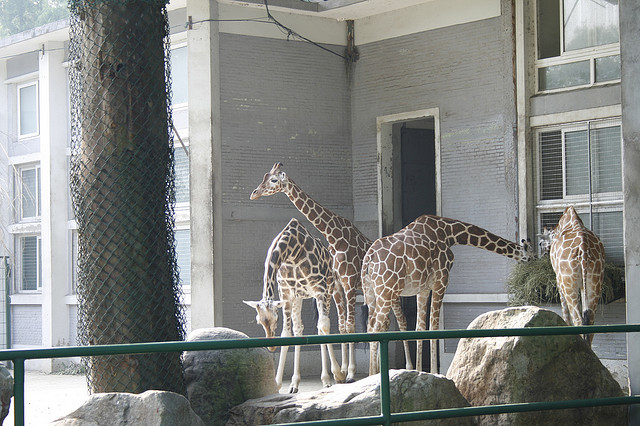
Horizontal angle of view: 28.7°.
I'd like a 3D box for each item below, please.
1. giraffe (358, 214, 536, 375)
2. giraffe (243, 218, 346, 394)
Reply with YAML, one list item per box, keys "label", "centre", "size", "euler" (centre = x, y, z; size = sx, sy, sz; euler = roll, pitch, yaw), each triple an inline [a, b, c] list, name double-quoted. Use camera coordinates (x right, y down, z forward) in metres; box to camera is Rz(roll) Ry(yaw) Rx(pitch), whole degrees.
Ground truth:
- label: "giraffe"
  centre: [1.944, 1.303, 18.936]
  size: [2.933, 2.496, 0.790]
  euler: [10, -13, -27]
- label: "giraffe"
  centre: [-0.371, 1.371, 18.990]
  size: [1.303, 2.710, 2.878]
  euler: [-4, -8, 3]
